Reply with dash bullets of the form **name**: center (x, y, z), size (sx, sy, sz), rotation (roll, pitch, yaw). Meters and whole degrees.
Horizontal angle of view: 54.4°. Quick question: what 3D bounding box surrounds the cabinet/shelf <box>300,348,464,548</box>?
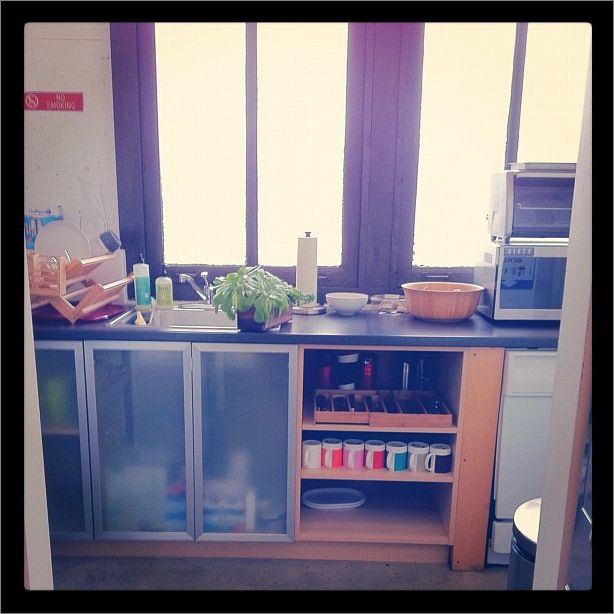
- **cabinet/shelf**: center (0.265, 0.493, 2.059), size (0.560, 0.922, 0.433), rotation (0, 3, 3)

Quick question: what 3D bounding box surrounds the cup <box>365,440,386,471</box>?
- **cup**: center (0.228, 0.495, 2.001), size (0.055, 0.090, 0.092), rotation (2, 6, 12)

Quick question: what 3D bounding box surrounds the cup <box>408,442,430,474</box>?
- **cup**: center (0.368, 0.498, 1.988), size (0.055, 0.092, 0.090), rotation (4, 9, 23)

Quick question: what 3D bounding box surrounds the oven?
- **oven**: center (0.794, -0.360, 2.071), size (0.272, 0.280, 0.213), rotation (0, 10, -6)

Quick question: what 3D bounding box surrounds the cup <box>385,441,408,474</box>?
- **cup**: center (0.300, 0.501, 1.989), size (0.055, 0.091, 0.093), rotation (2, 7, 16)

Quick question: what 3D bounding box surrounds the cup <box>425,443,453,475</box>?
- **cup**: center (0.436, 0.505, 2.013), size (0.098, 0.087, 0.063), rotation (-8, 12, -37)

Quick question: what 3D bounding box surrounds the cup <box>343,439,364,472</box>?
- **cup**: center (0.158, 0.497, 2.007), size (0.068, 0.098, 0.067), rotation (2, -14, 1)

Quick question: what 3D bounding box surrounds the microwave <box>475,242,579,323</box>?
- **microwave**: center (0.724, -0.083, 2.070), size (0.334, 0.367, 0.261), rotation (0, 5, 3)

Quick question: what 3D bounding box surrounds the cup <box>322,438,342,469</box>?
- **cup**: center (0.085, 0.484, 1.982), size (0.057, 0.089, 0.095), rotation (2, 8, 6)

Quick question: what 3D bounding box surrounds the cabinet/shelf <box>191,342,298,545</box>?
- **cabinet/shelf**: center (-0.199, 0.448, 1.927), size (0.342, 0.608, 0.281), rotation (2, -13, 0)

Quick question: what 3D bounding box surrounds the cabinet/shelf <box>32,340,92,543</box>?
- **cabinet/shelf**: center (-0.787, 0.442, 1.937), size (0.176, 0.612, 0.289), rotation (3, -13, -3)

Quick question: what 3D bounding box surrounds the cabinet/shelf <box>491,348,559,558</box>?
- **cabinet/shelf**: center (0.689, 0.480, 1.911), size (0.177, 0.636, 0.306), rotation (0, -13, 9)

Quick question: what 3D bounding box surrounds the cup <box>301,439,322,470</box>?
- **cup**: center (0.017, 0.489, 1.970), size (0.070, 0.092, 0.057), rotation (3, -14, -1)

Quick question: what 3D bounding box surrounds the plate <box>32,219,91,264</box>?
- **plate**: center (-0.912, -0.258, 2.219), size (0.224, 0.160, 0.070), rotation (3, -13, -2)

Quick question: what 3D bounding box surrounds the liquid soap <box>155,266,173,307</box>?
- **liquid soap**: center (-0.555, -0.046, 2.315), size (0.073, 0.115, 0.128), rotation (6, -15, -15)
